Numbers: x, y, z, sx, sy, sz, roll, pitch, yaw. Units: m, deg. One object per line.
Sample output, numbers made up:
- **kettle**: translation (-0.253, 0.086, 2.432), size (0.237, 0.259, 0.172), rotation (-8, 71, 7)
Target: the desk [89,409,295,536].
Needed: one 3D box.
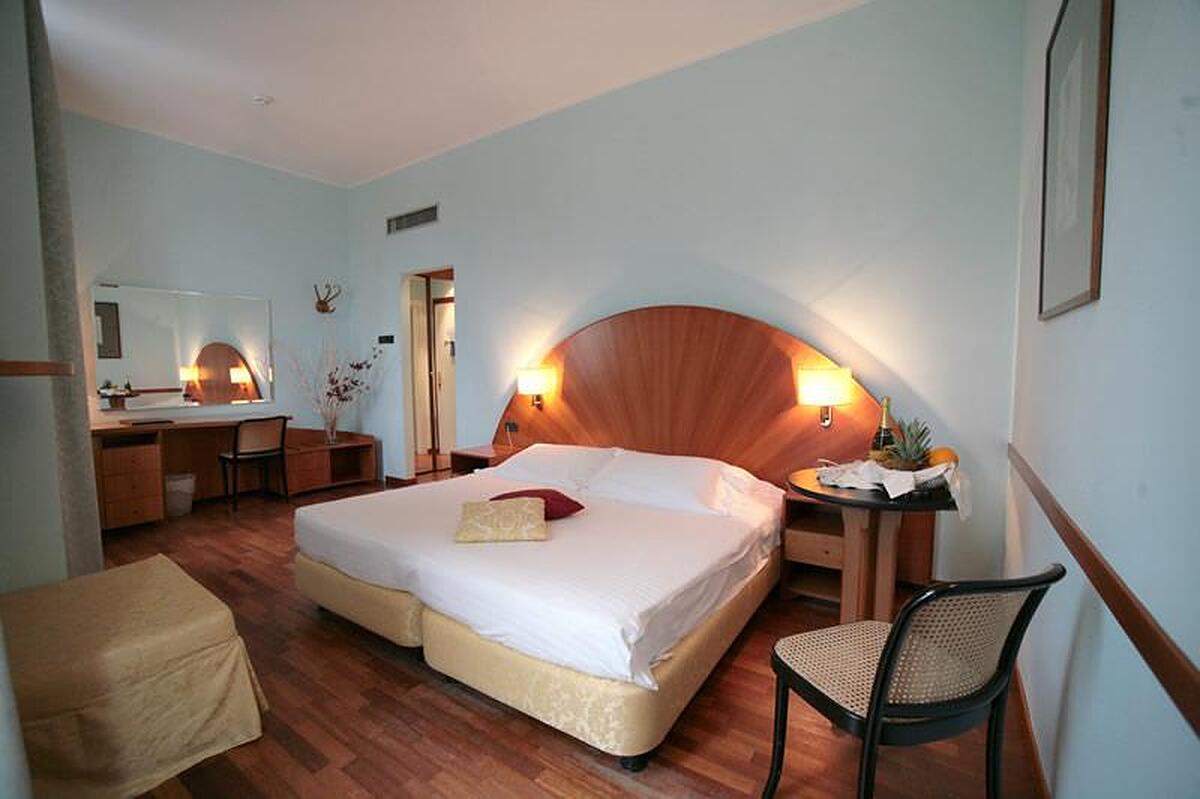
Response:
- **desk**: translation (-3.314, 0.561, 6.157), size (1.378, 0.803, 0.656), rotation (-4, 5, -43)

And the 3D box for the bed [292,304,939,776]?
- **bed**: translation (0.105, 0.444, 4.360), size (3.309, 2.072, 2.391), rotation (4, 6, 38)

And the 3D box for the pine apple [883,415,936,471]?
- **pine apple**: translation (1.626, 0.271, 4.057), size (0.255, 0.324, 0.258), rotation (-7, 13, -18)

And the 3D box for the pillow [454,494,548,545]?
- **pillow**: translation (-0.521, 0.646, 4.055), size (0.474, 0.181, 0.317), rotation (-2, 3, -5)

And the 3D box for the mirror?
- **mirror**: translation (-3.505, -0.467, 6.272), size (0.016, 0.892, 1.119), rotation (1, 4, 39)

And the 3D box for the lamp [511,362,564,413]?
- **lamp**: translation (-0.444, -0.104, 5.710), size (0.327, 0.391, 0.338), rotation (5, 8, 25)

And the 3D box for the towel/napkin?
- **towel/napkin**: translation (1.514, 0.407, 3.812), size (0.409, 0.211, 0.422), rotation (-1, 0, 33)

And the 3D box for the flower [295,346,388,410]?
- **flower**: translation (-2.463, -0.182, 7.291), size (0.668, 0.600, 0.616), rotation (3, 7, 26)

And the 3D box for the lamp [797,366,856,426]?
- **lamp**: translation (1.328, -0.070, 4.658), size (0.339, 0.411, 0.335), rotation (-12, 16, -36)
